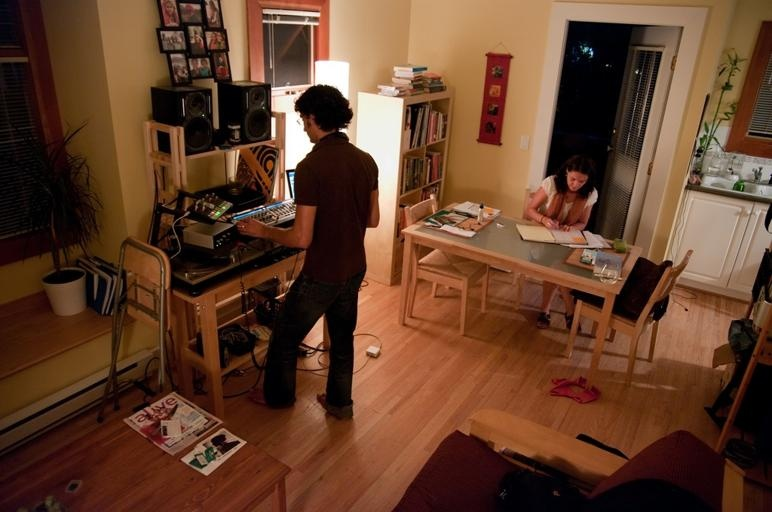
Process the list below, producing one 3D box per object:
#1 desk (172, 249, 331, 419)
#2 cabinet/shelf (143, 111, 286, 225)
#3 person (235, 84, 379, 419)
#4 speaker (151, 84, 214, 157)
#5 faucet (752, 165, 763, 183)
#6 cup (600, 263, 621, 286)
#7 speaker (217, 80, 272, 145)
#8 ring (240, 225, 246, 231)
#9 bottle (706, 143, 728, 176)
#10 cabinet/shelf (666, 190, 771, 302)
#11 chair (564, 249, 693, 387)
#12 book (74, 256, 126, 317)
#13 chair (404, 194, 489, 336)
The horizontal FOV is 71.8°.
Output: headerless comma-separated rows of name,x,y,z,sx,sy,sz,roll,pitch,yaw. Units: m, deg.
desk,-1.003,0.594,3.888,0.344,0.790,0.966,19,33,24
cabinet/shelf,-1.301,-0.641,4.256,0.353,0.967,0.966,25,34,31
person,-0.570,0.042,3.796,0.965,2.317,0.770,-9,24,-30
speaker,-1.470,-1.007,3.912,0.313,0.436,0.326,17,26,26
faucet,3.896,-0.851,5.610,0.059,0.093,0.210,9,60,22
cup,1.762,0.145,4.192,0.134,0.147,0.133,-2,25,1
speaker,-1.107,-1.142,4.220,0.399,0.435,0.409,0,25,-9
ring,-0.967,-0.188,3.623,0.041,0.040,0.010,5,9,12
bottle,3.537,-1.018,5.716,0.210,0.261,0.146,15,30,25
cabinet/shelf,3.364,-0.132,5.348,0.836,0.849,0.467,17,32,27
chair,2.024,0.431,4.542,0.716,1.068,0.767,17,31,28
book,-2.135,0.214,3.995,0.377,0.519,0.155,-22,-1,26
chair,0.566,0.141,4.961,0.802,1.307,0.746,16,31,29
